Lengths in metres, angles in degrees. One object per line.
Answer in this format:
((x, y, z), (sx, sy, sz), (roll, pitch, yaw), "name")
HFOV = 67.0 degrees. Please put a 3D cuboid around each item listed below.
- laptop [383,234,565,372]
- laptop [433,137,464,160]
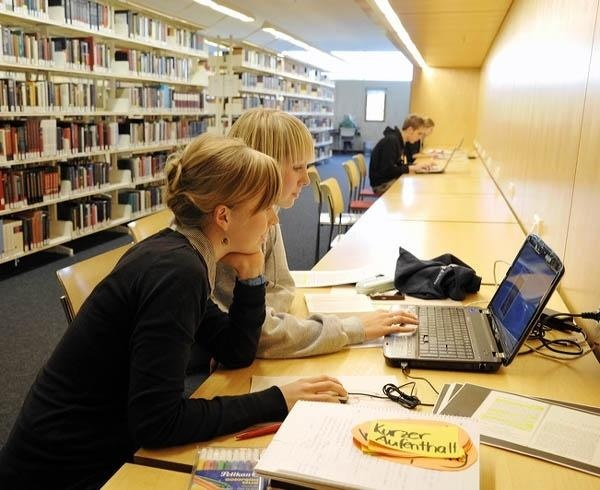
((0.466, 0.212, 1.279), (0.378, 0.290, 0.442), (1, 10, 10), "laptop")
((2.400, -1.560, 7.322), (0.302, 0.245, 0.718), (5, 24, 17), "laptop")
